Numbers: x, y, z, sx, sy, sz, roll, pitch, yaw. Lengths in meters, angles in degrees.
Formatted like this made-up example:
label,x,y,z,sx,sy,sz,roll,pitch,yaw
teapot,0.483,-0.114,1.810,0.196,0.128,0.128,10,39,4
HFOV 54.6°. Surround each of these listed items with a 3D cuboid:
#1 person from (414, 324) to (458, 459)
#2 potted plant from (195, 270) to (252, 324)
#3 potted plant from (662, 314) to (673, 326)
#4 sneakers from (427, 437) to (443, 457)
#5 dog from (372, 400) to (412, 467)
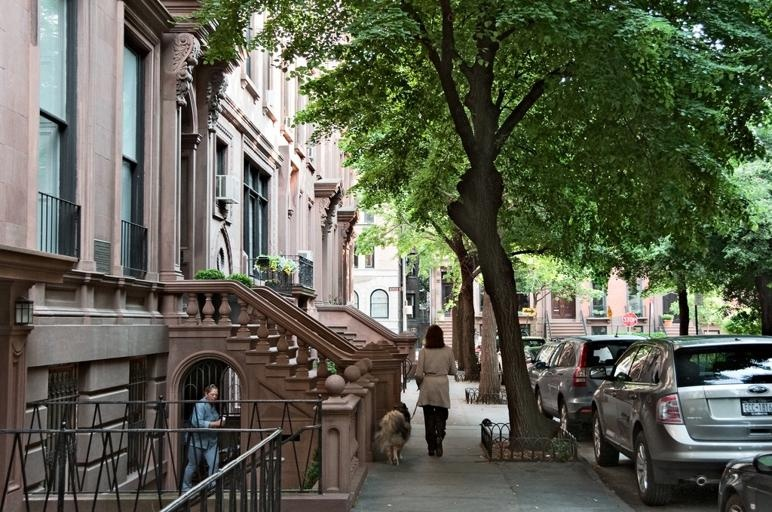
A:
label,x,y,z,sx,sy,sz,roll,pitch,yaw
person,1.035,2.771,15.395,0.808,2.644,1.018,-4,-9,5
potted plant,-3.663,0.799,16.472,1.167,0.880,1.239,2,1,40
potted plant,26.126,6.041,69.494,0.991,1.092,1.039,-2,-3,18
sneakers,0.979,3.891,15.013,0.160,0.511,0.213,3,35,4
dog,0.090,3.442,14.656,0.415,0.791,1.566,-20,-2,17
